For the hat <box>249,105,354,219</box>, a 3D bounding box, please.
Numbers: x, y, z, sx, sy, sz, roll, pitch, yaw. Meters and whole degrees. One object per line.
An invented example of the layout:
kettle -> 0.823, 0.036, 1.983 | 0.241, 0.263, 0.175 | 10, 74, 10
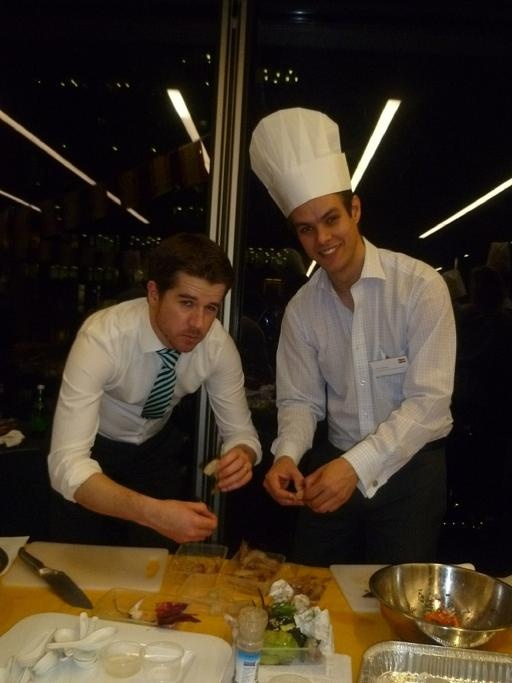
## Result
hat -> 0.177, -0.684, 1.977 | 0.338, 0.315, 0.405 | 5, 29, 39

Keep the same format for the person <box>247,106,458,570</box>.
person -> 0.336, 0.050, 1.862 | 0.698, 1.721, 0.645 | 0, 2, -1

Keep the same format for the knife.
knife -> -0.495, 0.571, 1.310 | 0.080, 0.051, 0.376 | -23, 23, -30

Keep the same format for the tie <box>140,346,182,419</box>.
tie -> -0.346, 0.131, 2.027 | 0.115, 0.048, 0.292 | -5, 42, -1

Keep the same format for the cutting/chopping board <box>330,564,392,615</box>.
cutting/chopping board -> 0.287, 0.632, 1.417 | 0.133, 0.060, 0.003 | 11, -16, 8

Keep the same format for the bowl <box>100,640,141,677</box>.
bowl -> -0.247, 0.583, 0.991 | 0.074, 0.029, 0.067 | 1, 2, 16

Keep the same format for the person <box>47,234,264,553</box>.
person -> -0.358, 0.154, 1.876 | 0.666, 1.038, 0.901 | 0, 2, 9
